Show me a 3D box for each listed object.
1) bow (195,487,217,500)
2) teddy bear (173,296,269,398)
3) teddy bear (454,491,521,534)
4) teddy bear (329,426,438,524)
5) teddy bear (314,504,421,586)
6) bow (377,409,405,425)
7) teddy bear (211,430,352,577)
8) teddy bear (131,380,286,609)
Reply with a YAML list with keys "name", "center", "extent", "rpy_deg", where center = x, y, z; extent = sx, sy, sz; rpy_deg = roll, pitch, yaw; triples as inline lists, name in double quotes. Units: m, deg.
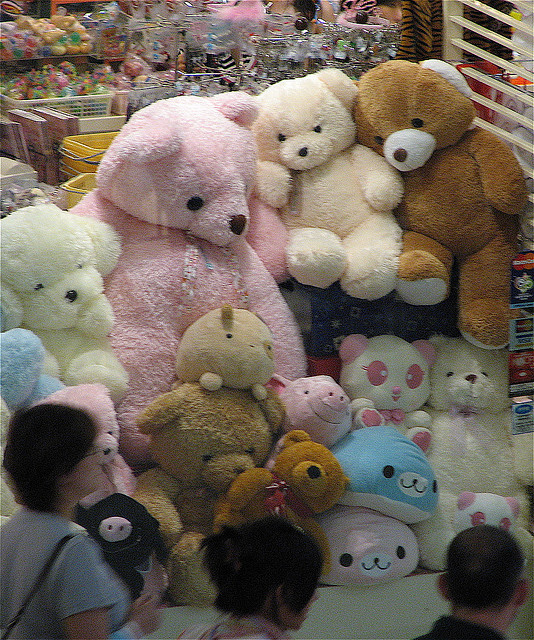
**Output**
- name: "bow"
  center: [-0.133, 0.393, 1.605]
  extent: [0.051, 0.021, 0.009]
  rpy_deg: [8, 15, 6]
- name: "teddy bear"
  center: [-0.119, 0.077, 1.649]
  extent: [0.277, 0.203, 0.205]
  rpy_deg: [10, 69, -21]
- name: "teddy bear"
  center: [0.556, 0.485, 1.801]
  extent: [0.158, 0.089, 0.137]
  rpy_deg: [7, 1, 12]
- name: "teddy bear"
  center: [0.290, 0.370, 1.706]
  extent: [0.317, 0.134, 0.214]
  rpy_deg: [14, 69, -16]
- name: "teddy bear"
  center: [0.244, 0.554, 1.761]
  extent: [0.336, 0.263, 0.114]
  rpy_deg: [7, 92, -15]
- name: "bow"
  center: [0.325, 0.247, 1.796]
  extent: [0.055, 0.014, 0.037]
  rpy_deg: [3, 75, -26]
- name: "teddy bear"
  center: [0.033, 0.410, 1.642]
  extent: [0.277, 0.222, 0.308]
  rpy_deg: [40, 63, -10]
- name: "teddy bear"
  center: [-0.119, 0.393, 1.669]
  extent: [0.448, 0.267, 0.455]
  rpy_deg: [0, 78, -17]
